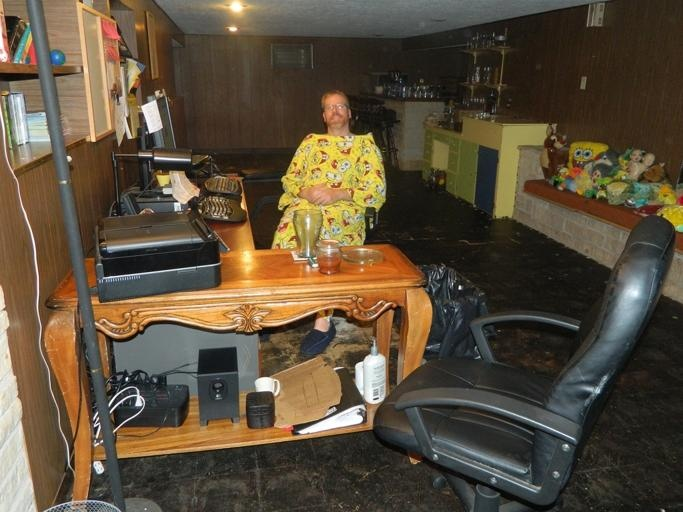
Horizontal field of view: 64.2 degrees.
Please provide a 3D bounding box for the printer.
[{"bbox_3d":[-0.753,-0.053,2.194,0.384,0.171,0.359,-5,21,-20],"label":"printer"}]

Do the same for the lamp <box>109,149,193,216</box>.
[{"bbox_3d":[-0.931,-0.374,2.619,0.266,0.306,0.540,-17,25,-38],"label":"lamp"}]

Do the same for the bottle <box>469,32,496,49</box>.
[{"bbox_3d":[1.900,-2.938,7.415,0.404,0.151,0.294,11,43,28],"label":"bottle"}]

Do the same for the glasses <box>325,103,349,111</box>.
[{"bbox_3d":[-0.030,-0.973,3.557,0.130,0.047,0.049,-7,21,-19],"label":"glasses"}]

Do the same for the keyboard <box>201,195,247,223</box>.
[{"bbox_3d":[-0.704,-0.277,3.294,0.252,0.061,0.177,2,31,-18],"label":"keyboard"}]

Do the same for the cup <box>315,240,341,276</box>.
[{"bbox_3d":[-0.053,0.004,2.312,0.130,0.151,0.136,0,11,0],"label":"cup"}]

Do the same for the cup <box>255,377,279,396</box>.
[{"bbox_3d":[-0.346,0.607,2.549,0.120,0.078,0.074,1,-1,-17],"label":"cup"}]
